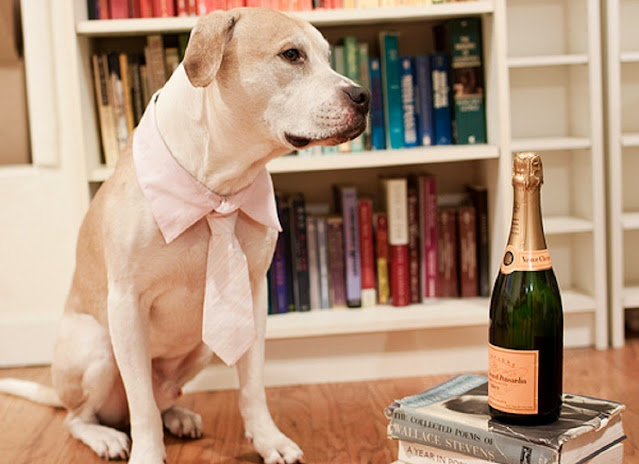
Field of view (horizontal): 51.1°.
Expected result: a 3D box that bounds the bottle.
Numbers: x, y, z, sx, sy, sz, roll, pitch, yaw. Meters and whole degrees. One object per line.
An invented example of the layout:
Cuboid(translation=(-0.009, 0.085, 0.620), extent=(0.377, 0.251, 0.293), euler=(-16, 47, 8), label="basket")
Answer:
Cuboid(translation=(0.454, 0.119, 1.488), extent=(0.157, 0.589, 0.146), euler=(-4, 9, 1), label="bottle")

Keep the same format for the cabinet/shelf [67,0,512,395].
Cuboid(translation=(-0.101, -0.100, 2.009), extent=(1.130, 1.106, 0.390), euler=(-2, -6, -2), label="cabinet/shelf")
